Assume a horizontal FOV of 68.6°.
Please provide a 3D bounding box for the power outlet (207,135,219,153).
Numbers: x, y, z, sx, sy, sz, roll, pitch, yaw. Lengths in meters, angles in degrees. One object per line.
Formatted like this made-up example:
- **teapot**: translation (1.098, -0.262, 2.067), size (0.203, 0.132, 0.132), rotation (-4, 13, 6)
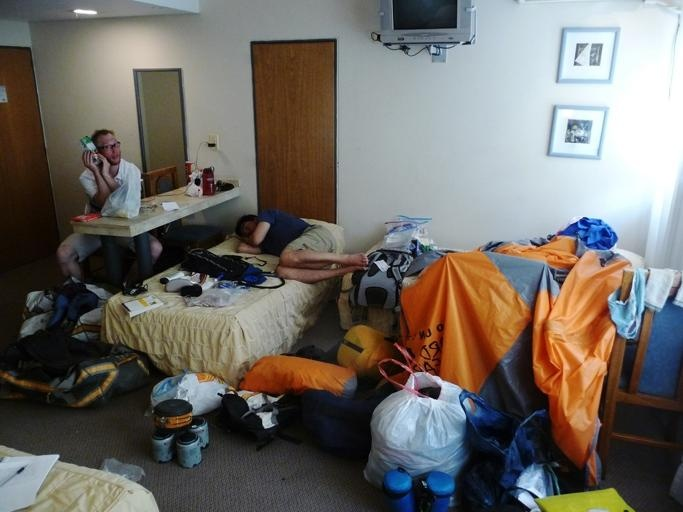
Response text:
- **power outlet**: translation (-1.305, -1.149, 5.071), size (0.151, 0.150, 0.081), rotation (5, 15, 15)

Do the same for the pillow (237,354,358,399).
- **pillow**: translation (-0.284, 0.742, 3.176), size (0.453, 0.129, 0.336), rotation (4, 4, 15)

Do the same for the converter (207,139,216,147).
- **converter**: translation (-1.315, -1.131, 5.071), size (0.102, 0.066, 0.018), rotation (9, 21, 18)

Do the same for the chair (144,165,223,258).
- **chair**: translation (-1.505, -0.423, 4.751), size (0.505, 0.911, 0.592), rotation (8, 26, 15)

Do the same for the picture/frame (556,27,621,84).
- **picture/frame**: translation (1.988, -1.617, 4.000), size (0.454, 0.451, 0.035), rotation (6, 24, 15)

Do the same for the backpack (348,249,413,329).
- **backpack**: translation (0.306, 0.237, 3.893), size (0.474, 0.595, 0.233), rotation (-2, -24, 30)

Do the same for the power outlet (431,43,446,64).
- **power outlet**: translation (0.830, -1.721, 4.253), size (0.137, 0.096, 0.134), rotation (16, -12, 33)

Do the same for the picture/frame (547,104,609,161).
- **picture/frame**: translation (1.975, -1.041, 4.151), size (0.440, 0.437, 0.030), rotation (8, 21, 22)

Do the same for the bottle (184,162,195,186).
- **bottle**: translation (-1.515, -0.828, 4.964), size (0.077, 0.248, 0.185), rotation (5, 7, -5)

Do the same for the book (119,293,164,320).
- **book**: translation (-1.384, 0.339, 3.491), size (0.173, 0.041, 0.166), rotation (-15, 19, -34)
